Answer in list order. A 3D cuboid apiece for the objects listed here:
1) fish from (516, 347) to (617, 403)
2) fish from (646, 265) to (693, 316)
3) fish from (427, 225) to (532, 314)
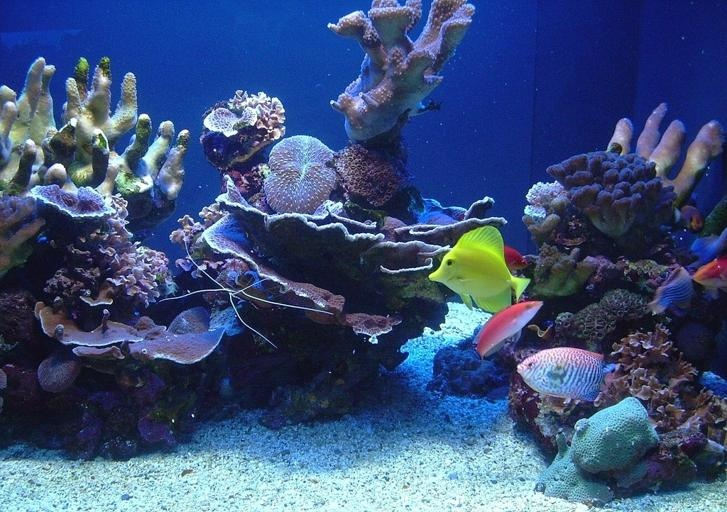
[{"bbox_3d":[1.645,0.967,5.873,0.942,0.555,0.309,6,0,1],"label":"fish"},{"bbox_3d":[2.739,0.339,6.313,0.407,0.433,0.153,-5,20,-20],"label":"fish"},{"bbox_3d":[0.956,0.125,5.769,0.833,0.683,0.262,6,14,3],"label":"fish"}]
